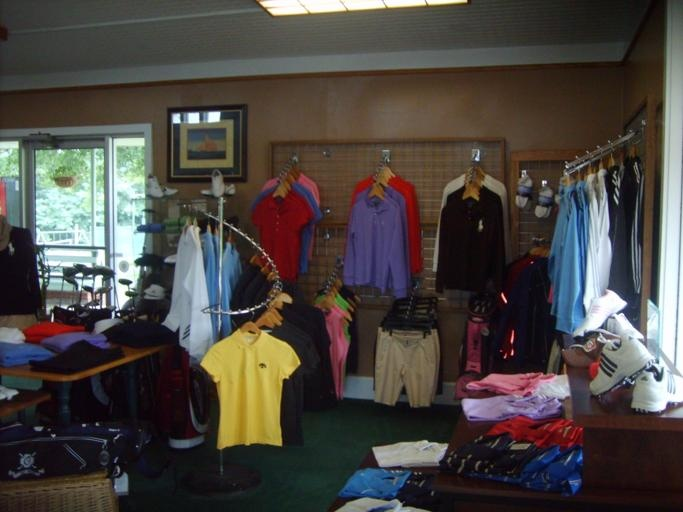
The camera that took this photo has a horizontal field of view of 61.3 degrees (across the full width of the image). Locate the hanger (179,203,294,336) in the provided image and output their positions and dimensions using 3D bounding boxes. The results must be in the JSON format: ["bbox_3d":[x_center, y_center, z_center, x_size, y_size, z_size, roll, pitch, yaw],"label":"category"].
[{"bbox_3d":[-0.766,-0.027,4.690,0.565,0.906,1.924,-1,8,-6],"label":"hanger"}]

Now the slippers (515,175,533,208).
[{"bbox_3d":[1.644,-0.577,5.223,0.110,0.285,0.162,6,6,-36],"label":"slippers"}]

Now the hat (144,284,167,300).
[{"bbox_3d":[-1.763,0.348,5.429,0.198,0.155,0.179,-3,8,-21],"label":"hat"}]

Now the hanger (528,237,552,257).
[{"bbox_3d":[1.779,-0.075,5.163,0.164,0.226,0.072,-2,-31,35],"label":"hanger"}]

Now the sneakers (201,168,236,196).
[{"bbox_3d":[-1.068,-0.622,5.052,0.183,0.252,0.557,-3,1,-4],"label":"sneakers"}]

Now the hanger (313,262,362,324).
[{"bbox_3d":[-0.015,0.356,5.436,0.487,0.909,0.279,2,-9,0],"label":"hanger"}]

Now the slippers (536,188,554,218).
[{"bbox_3d":[1.823,-0.468,5.162,0.156,0.271,0.077,11,8,37],"label":"slippers"}]

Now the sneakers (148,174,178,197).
[{"bbox_3d":[-1.713,-0.683,5.589,0.420,0.200,0.148,5,13,42],"label":"sneakers"}]

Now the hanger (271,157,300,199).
[{"bbox_3d":[-0.513,-0.842,5.564,0.145,0.551,0.184,11,-11,30],"label":"hanger"}]

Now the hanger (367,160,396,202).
[{"bbox_3d":[0.381,-0.697,5.428,0.219,0.303,0.185,1,7,6],"label":"hanger"}]

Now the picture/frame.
[{"bbox_3d":[-1.358,-1.192,5.962,0.841,1.039,0.068,-3,6,3],"label":"picture/frame"}]

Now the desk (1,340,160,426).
[{"bbox_3d":[-1.752,0.852,4.134,0.787,0.567,0.875,-1,-2,21],"label":"desk"}]

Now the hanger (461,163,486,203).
[{"bbox_3d":[1.217,-0.678,5.286,0.181,0.333,0.228,3,8,22],"label":"hanger"}]
